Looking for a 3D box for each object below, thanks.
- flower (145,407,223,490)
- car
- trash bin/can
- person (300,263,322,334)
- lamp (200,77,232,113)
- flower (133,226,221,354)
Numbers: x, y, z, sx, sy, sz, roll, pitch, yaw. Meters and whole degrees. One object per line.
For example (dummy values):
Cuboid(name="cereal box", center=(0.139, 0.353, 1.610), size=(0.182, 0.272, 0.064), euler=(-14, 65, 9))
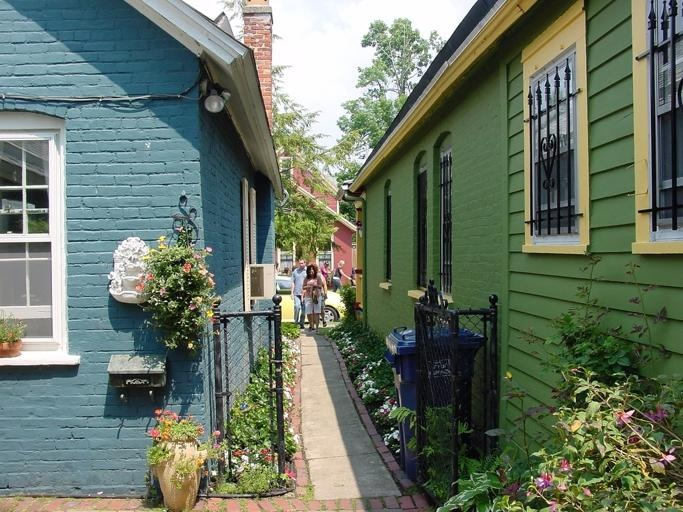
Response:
Cuboid(name="flower", center=(-1.436, 1.763, 5.657), size=(0.492, 0.652, 0.669), euler=(3, -9, 3))
Cuboid(name="car", center=(-0.817, 1.214, 16.874), size=(1.838, 1.014, 1.135), euler=(-1, -1, -4))
Cuboid(name="trash bin/can", center=(0.918, 1.402, 6.247), size=(0.888, 1.405, 0.785), euler=(-1, -1, -1))
Cuboid(name="person", center=(-0.683, 0.976, 14.896), size=(0.460, 1.578, 0.962), euler=(0, 4, -2))
Cuboid(name="lamp", center=(-1.164, -1.458, 5.828), size=(0.213, 0.343, 0.191), euler=(4, -7, -11))
Cuboid(name="flower", center=(-1.419, 0.310, 5.673), size=(0.691, 1.125, 0.433), euler=(-1, 4, -20))
